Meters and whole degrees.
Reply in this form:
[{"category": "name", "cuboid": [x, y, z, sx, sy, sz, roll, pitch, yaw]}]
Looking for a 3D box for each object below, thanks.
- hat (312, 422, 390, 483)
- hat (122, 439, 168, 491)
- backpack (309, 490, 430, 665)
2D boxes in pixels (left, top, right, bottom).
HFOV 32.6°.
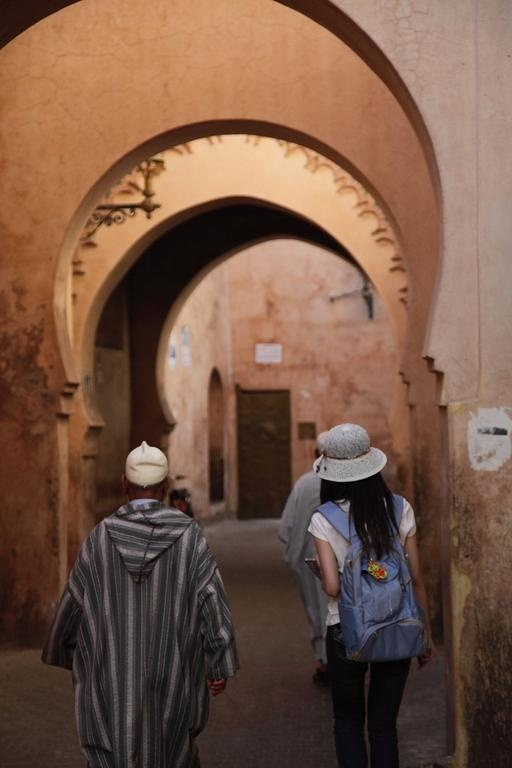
[{"category": "hat", "cuboid": [0.272, 0.215, 2.657, 0.176, 0.096, 0.172, -37, 27, -31]}, {"category": "hat", "cuboid": [-0.314, 0.235, 2.530, 0.087, 0.074, 0.143, -1, 35, -4]}, {"category": "backpack", "cuboid": [0.319, 0.569, 2.499, 0.327, 0.439, 0.225, 2, -3, 4]}]
